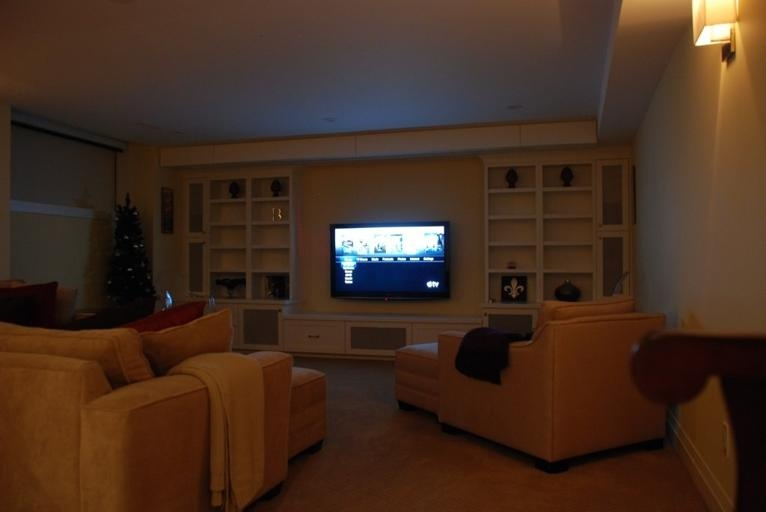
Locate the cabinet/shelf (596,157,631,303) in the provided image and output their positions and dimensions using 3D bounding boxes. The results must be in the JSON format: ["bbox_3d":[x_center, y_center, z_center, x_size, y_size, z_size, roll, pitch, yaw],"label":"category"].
[{"bbox_3d":[2.604,-0.266,6.814,0.241,1.586,0.314,-3,7,12],"label":"cabinet/shelf"}]

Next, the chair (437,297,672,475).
[{"bbox_3d":[1.171,0.888,4.351,1.185,1.119,1.274,0,-1,-29],"label":"chair"}]

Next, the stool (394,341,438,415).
[{"bbox_3d":[0.343,1.037,5.115,0.471,0.448,0.511,-3,-3,28],"label":"stool"}]

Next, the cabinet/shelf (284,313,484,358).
[{"bbox_3d":[0.017,0.992,7.381,2.487,0.592,0.470,1,10,13],"label":"cabinet/shelf"}]

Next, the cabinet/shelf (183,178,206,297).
[{"bbox_3d":[-2.525,-0.192,8.092,0.300,1.612,0.116,0,14,-17],"label":"cabinet/shelf"}]

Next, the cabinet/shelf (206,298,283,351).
[{"bbox_3d":[-1.806,0.856,7.788,1.010,0.667,0.337,2,19,-7],"label":"cabinet/shelf"}]
